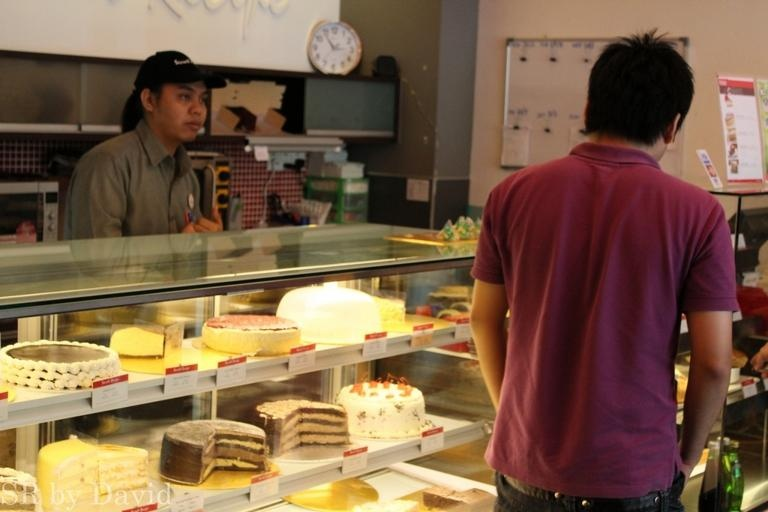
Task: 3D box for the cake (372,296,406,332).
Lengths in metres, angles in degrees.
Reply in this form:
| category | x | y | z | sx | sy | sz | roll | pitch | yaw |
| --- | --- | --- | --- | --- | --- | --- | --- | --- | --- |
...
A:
| category | x | y | z | sx | sy | sz | roll | pitch | yaw |
| --- | --- | --- | --- | --- | --- | --- | --- | --- | --- |
| cake | 0.010 | 0.249 | 2.715 | 0.166 | 0.128 | 0.090 | 2 | 14 | -1 |

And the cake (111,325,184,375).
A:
| category | x | y | z | sx | sy | sz | roll | pitch | yaw |
| --- | --- | --- | --- | --- | --- | --- | --- | --- | --- |
| cake | -0.792 | 0.294 | 2.124 | 0.186 | 0.105 | 0.187 | 3 | 3 | 39 |

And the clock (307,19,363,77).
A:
| category | x | y | z | sx | sy | sz | roll | pitch | yaw |
| --- | --- | --- | --- | --- | --- | --- | --- | --- | --- |
| clock | -0.463 | -1.993 | 6.079 | 0.112 | 0.432 | 0.477 | -8 | -25 | 39 |

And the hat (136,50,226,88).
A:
| category | x | y | z | sx | sy | sz | roll | pitch | yaw |
| --- | --- | --- | --- | --- | --- | --- | --- | --- | --- |
| hat | -1.136 | -1.011 | 3.498 | 0.449 | 0.157 | 0.285 | 0 | 12 | 12 |

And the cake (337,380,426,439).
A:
| category | x | y | z | sx | sy | sz | roll | pitch | yaw |
| --- | --- | --- | --- | --- | --- | --- | --- | --- | --- |
| cake | 0.003 | 0.702 | 2.845 | 0.277 | 0.112 | 0.278 | 3 | 5 | 36 |

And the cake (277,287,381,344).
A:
| category | x | y | z | sx | sy | sz | roll | pitch | yaw |
| --- | --- | --- | --- | --- | --- | --- | --- | --- | --- |
| cake | -0.224 | 0.202 | 2.583 | 0.292 | 0.126 | 0.285 | -3 | 9 | -39 |

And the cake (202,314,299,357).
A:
| category | x | y | z | sx | sy | sz | roll | pitch | yaw |
| --- | --- | --- | --- | --- | --- | --- | --- | --- | --- |
| cake | -0.512 | 0.269 | 2.331 | 0.213 | 0.055 | 0.210 | 5 | 5 | 30 |
